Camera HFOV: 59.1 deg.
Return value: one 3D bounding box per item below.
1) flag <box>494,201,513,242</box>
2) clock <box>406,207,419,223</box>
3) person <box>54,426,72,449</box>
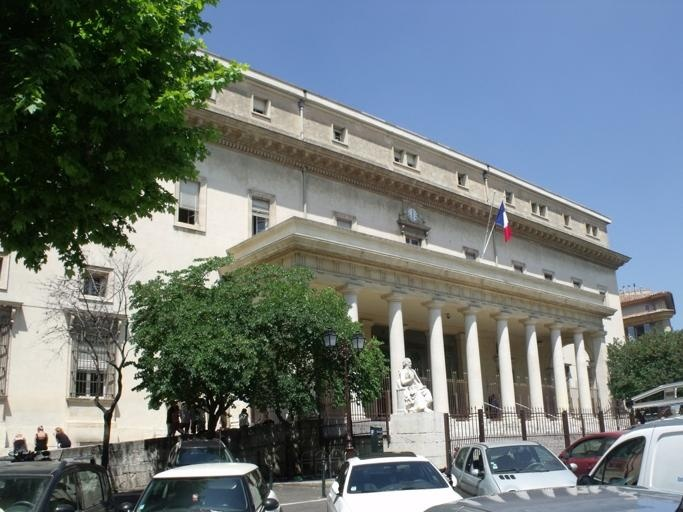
[{"bbox_3d":[10.508,-2.304,39.233,1.140,0.348,3.310,-7,-55,5],"label":"flag"},{"bbox_3d":[4.562,-2.579,38.610,1.094,1.041,0.111,12,-19,-39],"label":"clock"},{"bbox_3d":[-10.580,6.927,22.849,0.528,0.696,1.150,7,-18,-26],"label":"person"}]
